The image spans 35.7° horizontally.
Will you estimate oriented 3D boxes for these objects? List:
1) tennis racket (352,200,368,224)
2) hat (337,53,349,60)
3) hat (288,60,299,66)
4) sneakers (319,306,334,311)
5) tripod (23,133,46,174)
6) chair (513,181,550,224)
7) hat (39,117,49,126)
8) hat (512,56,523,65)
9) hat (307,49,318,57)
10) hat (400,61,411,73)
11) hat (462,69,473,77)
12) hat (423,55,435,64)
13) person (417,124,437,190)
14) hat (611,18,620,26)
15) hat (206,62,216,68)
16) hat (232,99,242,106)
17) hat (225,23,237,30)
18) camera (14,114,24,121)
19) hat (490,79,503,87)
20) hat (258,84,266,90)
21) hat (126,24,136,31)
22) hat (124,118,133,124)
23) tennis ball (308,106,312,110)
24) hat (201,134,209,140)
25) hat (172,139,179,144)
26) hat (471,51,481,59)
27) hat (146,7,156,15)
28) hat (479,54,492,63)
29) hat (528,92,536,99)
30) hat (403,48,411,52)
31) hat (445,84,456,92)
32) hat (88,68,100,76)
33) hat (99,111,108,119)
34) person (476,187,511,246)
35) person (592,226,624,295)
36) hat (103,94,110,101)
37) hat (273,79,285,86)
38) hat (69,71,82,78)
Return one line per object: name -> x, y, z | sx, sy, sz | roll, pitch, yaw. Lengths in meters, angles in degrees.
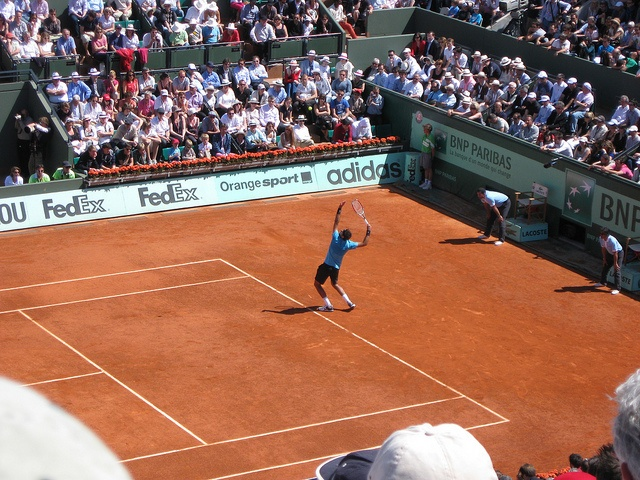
tennis racket -> 1.404, -0.914, 32.753 | 0.321, 0.094, 1.138 | 19, 30, -41
hat -> 0.921, -7.407, 39.760 | 0.423, 0.183, 0.480 | 1, -1, 7
hat -> -1.051, -6.871, 38.458 | 0.491, 0.210, 0.544 | 0, 4, -10
sneakers -> 0.151, 1.850, 26.450 | 0.358, 0.155, 0.147 | 4, 11, 6
tripod -> -9.597, -2.974, 33.783 | 0.725, 1.548, 0.454 | -7, 20, -19
chair -> 6.807, -1.201, 32.184 | 0.689, 1.154, 0.882 | -5, 16, -19
hat -> -9.315, -4.021, 33.478 | 0.242, 0.301, 0.303 | 9, 18, 10
hat -> 7.346, -6.705, 37.198 | 0.428, 0.216, 0.614 | 10, 19, 11
hat -> -0.344, -7.342, 38.733 | 0.368, 0.152, 0.408 | -1, -2, -17
hat -> 3.325, -6.861, 39.198 | 0.446, 0.175, 0.567 | 21, 44, -4
hat -> 5.540, -6.331, 37.455 | 0.332, 0.203, 0.539 | 2, 19, 7
hat -> 4.274, -7.184, 39.086 | 0.387, 0.201, 0.382 | 17, 1, 2
person -> 3.851, -3.028, 35.848 | 0.502, 2.332, 0.644 | 2, 19, 6
hat -> 10.744, -7.955, 36.204 | 0.250, 0.343, 0.276 | 3, 54, 28
hat -> -4.085, -6.533, 36.899 | 0.227, 0.106, 0.321 | 10, 11, -19
hat -> -2.983, -5.022, 35.868 | 0.336, 0.149, 0.389 | -5, -2, 7
hat -> -3.497, -8.468, 39.257 | 0.615, 0.257, 0.667 | 1, 2, -6
camera -> -10.291, -4.199, 33.920 | 0.189, 0.103, 0.261 | -21, 32, -29
hat -> 6.358, -5.719, 36.144 | 0.448, 0.191, 0.496 | 4, -2, 6
hat -> -2.181, -5.773, 37.235 | 0.258, 0.121, 0.360 | 4, 17, -24
hat -> -7.112, -8.031, 37.308 | 0.475, 0.187, 0.527 | -1, -2, -9
hat -> -6.505, -4.051, 33.758 | 0.260, 0.186, 0.409 | -3, 19, -9
tennis ball -> -0.374, -4.994, 37.624 | 0.131, 0.081, 0.133 | 15, -10, 3
hat -> -3.961, -3.583, 34.183 | 0.194, 0.172, 0.193 | 5, 28, -6
hat -> -4.945, -3.376, 34.037 | 0.204, 0.196, 0.369 | -5, 19, -13
hat -> 6.006, -7.117, 38.243 | 0.304, 0.299, 0.756 | 2, 19, 6
hat -> -6.585, -8.906, 38.677 | 0.347, 0.216, 0.361 | -13, 11, 6
hat -> 6.309, -6.979, 38.163 | 0.453, 0.178, 0.500 | 0, -20, 1
hat -> 7.373, -5.055, 34.741 | 0.269, 0.200, 0.445 | 4, 19, 13
hat -> 3.462, -7.524, 39.657 | 0.267, 0.255, 0.271 | 8, 26, 8
hat -> 4.782, -5.644, 36.761 | 0.313, 0.293, 0.671 | 3, 19, 10
hat -> -7.986, -5.955, 35.297 | 0.350, 0.153, 0.395 | -1, 11, 6
hat -> -7.383, -4.241, 33.950 | 0.335, 0.245, 0.436 | -4, 19, -11
person -> 5.447, -0.796, 31.306 | 0.814, 1.819, 1.424 | 14, 23, 36
person -> 8.208, 0.509, 28.198 | 0.732, 2.097, 1.434 | 5, 19, 16
hat -> -7.509, -5.000, 34.751 | 0.256, 0.187, 0.414 | -2, -6, -15
hat -> -1.560, -5.944, 37.188 | 0.385, 0.153, 0.413 | 12, 3, -1
hat -> -8.731, -5.898, 35.393 | 0.397, 0.217, 0.563 | 0, 2, -12
